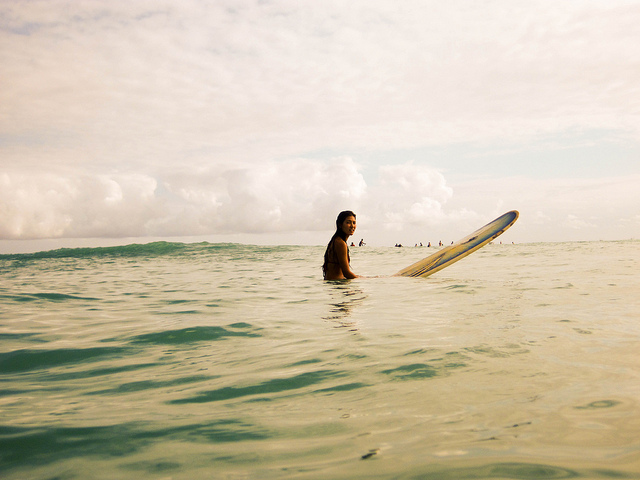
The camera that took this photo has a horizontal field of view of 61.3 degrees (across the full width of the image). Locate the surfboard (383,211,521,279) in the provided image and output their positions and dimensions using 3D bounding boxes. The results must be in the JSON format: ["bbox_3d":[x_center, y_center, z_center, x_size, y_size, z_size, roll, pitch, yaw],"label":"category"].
[{"bbox_3d":[3.819,0.488,14.870,3.768,0.319,0.365,-21,-17,-23],"label":"surfboard"}]

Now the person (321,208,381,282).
[{"bbox_3d":[0.478,0.166,10.075,0.896,1.397,0.596,-4,13,0],"label":"person"}]
